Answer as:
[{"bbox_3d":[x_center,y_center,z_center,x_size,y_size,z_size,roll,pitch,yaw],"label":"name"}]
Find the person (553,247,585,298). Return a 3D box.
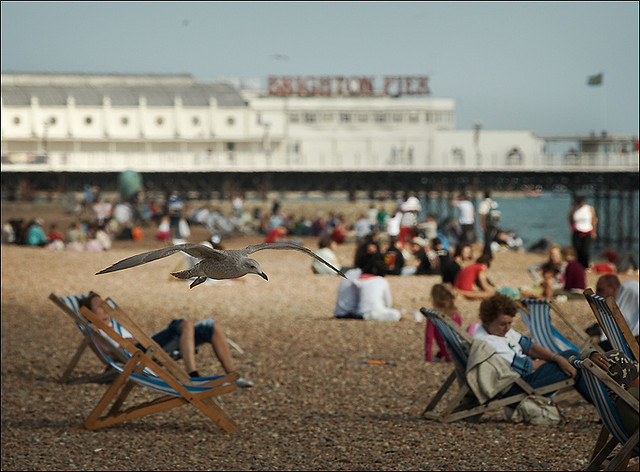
[{"bbox_3d":[3.467,0.468,19.735,0.345,0.558,1.208,-1,5,9],"label":"person"}]

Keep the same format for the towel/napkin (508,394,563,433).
[{"bbox_3d":[2.388,1.979,16.030,0.481,0.396,0.175,-5,16,-5],"label":"towel/napkin"}]

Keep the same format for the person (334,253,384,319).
[{"bbox_3d":[0.455,0.576,18.032,0.597,0.823,0.332,4,-25,42],"label":"person"}]

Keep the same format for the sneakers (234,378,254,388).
[{"bbox_3d":[-0.902,1.692,16.650,0.259,0.089,0.097,15,-27,-36],"label":"sneakers"}]

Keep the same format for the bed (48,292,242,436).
[{"bbox_3d":[-1.954,1.373,16.179,1.950,1.349,1.477,5,-2,-4],"label":"bed"}]

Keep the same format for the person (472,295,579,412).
[{"bbox_3d":[2.208,1.163,15.774,1.339,0.963,0.739,2,22,13],"label":"person"}]

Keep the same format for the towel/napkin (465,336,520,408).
[{"bbox_3d":[1.865,1.497,15.807,0.624,0.629,0.271,42,12,-7],"label":"towel/napkin"}]

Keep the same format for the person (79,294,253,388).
[{"bbox_3d":[-1.902,1.208,15.979,2.363,1.356,0.800,1,-1,3],"label":"person"}]
